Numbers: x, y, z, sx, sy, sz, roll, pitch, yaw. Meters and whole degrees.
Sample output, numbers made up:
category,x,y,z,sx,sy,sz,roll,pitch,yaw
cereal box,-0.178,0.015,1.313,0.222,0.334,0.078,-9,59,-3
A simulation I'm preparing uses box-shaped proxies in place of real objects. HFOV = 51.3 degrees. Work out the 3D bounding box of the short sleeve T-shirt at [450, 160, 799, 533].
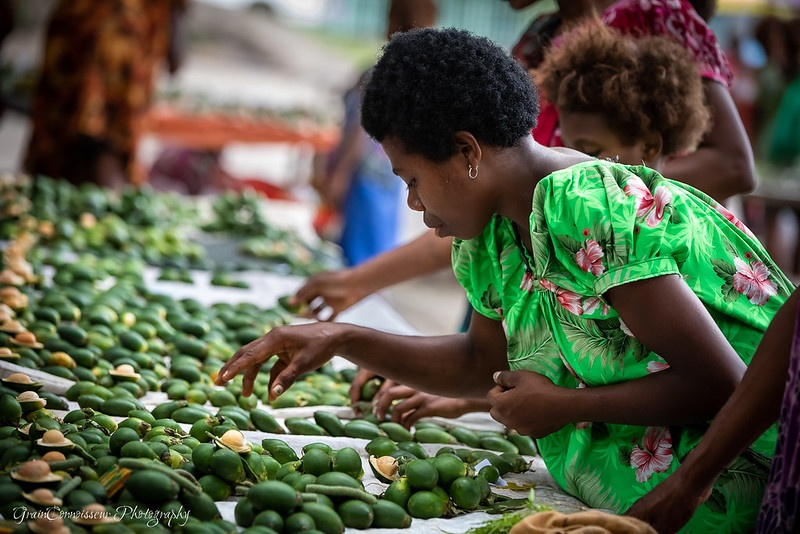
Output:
category,x,y,z,sx,sy,sz,roll,pitch,yaw
short sleeve T-shirt,0.809,0.277,3.059,1.219,1.243,0.610,7,-1,7

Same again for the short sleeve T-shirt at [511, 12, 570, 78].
category,x,y,z,sx,sy,sz,roll,pitch,yaw
short sleeve T-shirt,0.691,-1.157,4.210,0.116,0.419,0.315,27,2,-16
